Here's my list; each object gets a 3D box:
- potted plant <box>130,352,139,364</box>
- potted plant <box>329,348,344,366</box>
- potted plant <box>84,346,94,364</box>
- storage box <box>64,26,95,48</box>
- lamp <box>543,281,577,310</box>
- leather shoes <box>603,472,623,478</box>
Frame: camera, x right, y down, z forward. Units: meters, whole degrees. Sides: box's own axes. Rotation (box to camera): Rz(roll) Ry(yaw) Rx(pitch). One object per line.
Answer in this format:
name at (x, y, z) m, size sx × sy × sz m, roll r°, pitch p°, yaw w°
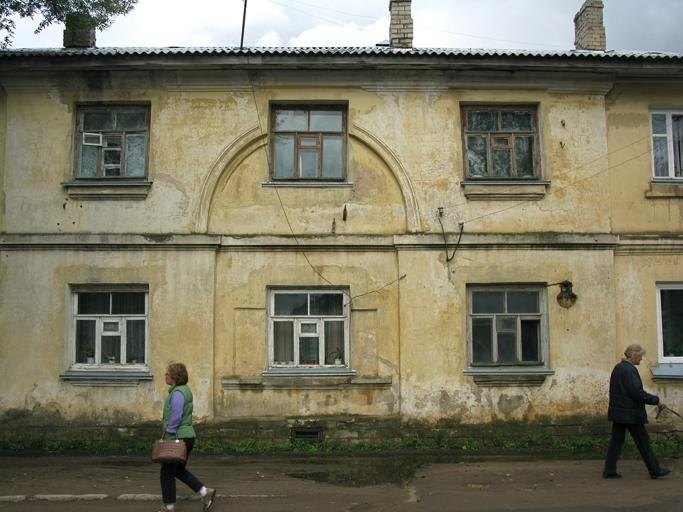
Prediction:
potted plant at (-4.304, 2.040, 30.491) m, size 0.190 × 0.231 × 0.185 m, roll 5°, pitch -14°, yaw -6°
potted plant at (-0.100, 2.019, 30.582) m, size 0.317 × 0.336 × 0.171 m, roll -1°, pitch 15°, yaw -2°
potted plant at (-5.213, 1.981, 30.537) m, size 0.299 × 0.401 × 0.281 m, roll 0°, pitch -9°, yaw -1°
storage box at (-5.682, -4.750, 31.818) m, size 0.557 × 0.397 × 0.427 m, roll 3°, pitch 15°, yaw 14°
lamp at (4.568, 0.750, 30.575) m, size 0.612 × 0.620 × 0.250 m, roll 0°, pitch -6°, yaw 6°
leather shoes at (5.135, 4.068, 27.979) m, size 0.386 × 0.152 × 0.126 m, roll 0°, pitch -2°, yaw -10°
